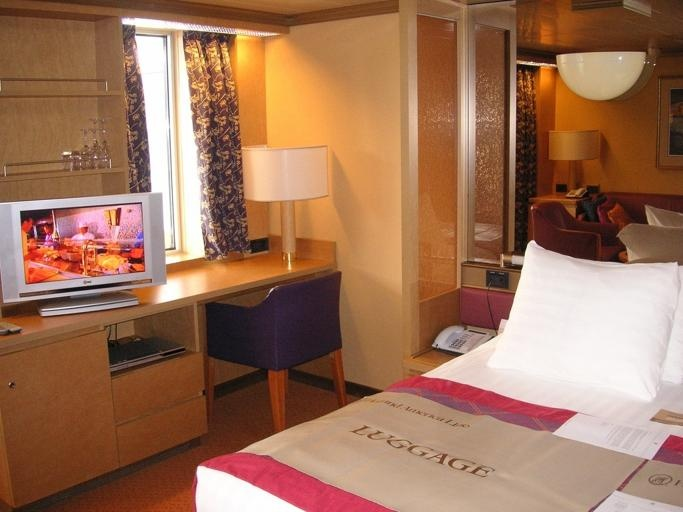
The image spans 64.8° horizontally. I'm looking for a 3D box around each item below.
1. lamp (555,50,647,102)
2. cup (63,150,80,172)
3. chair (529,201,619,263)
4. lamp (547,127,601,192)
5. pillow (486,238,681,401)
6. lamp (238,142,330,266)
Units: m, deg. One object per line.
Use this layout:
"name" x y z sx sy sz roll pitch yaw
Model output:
"lamp" 1.376 -0.943 2.866 0.284 0.182 0.288 -2 6 -8
"cup" -1.487 -0.528 2.986 0.078 0.109 0.114 -9 11 -39
"chair" 1.380 -0.055 3.140 0.459 0.529 0.451 -2 10 21
"lamp" 1.321 -0.542 3.082 0.280 0.339 0.285 -9 11 -40
"pillow" 1.083 0.295 2.327 0.171 0.617 0.629 26 -10 -37
"lamp" -0.364 -0.349 3.746 0.607 0.825 0.291 -4 8 -8
